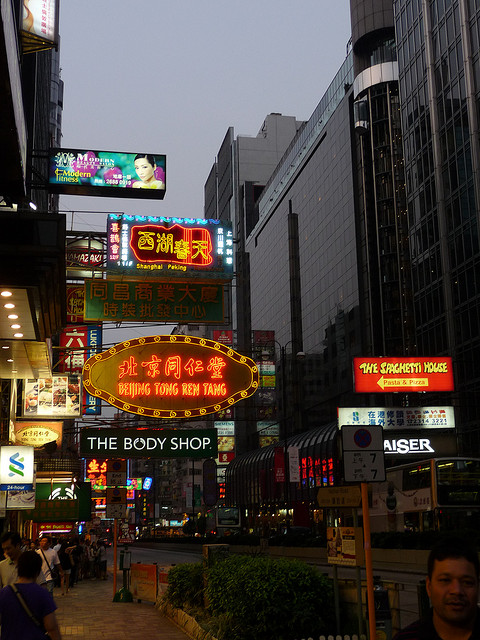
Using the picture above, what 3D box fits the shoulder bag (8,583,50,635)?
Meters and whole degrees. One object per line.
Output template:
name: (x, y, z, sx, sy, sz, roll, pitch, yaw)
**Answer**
shoulder bag: (-1.686, 2.324, 6.008, 0.039, 0.381, 0.057, -39, -10, 14)
